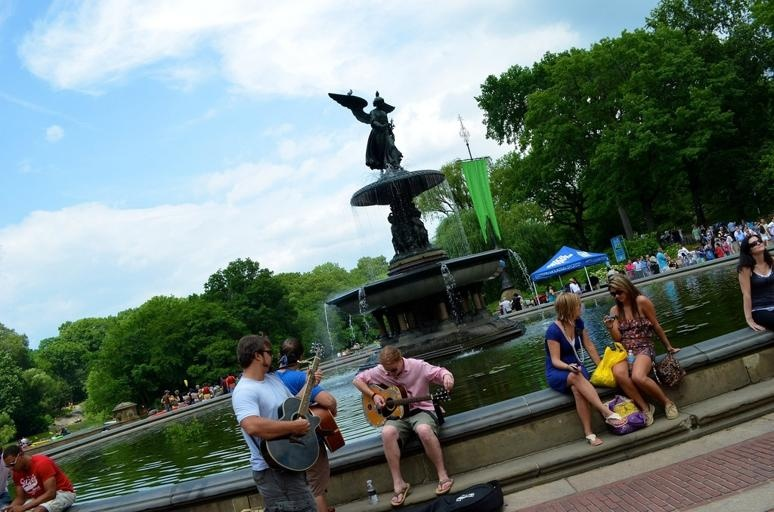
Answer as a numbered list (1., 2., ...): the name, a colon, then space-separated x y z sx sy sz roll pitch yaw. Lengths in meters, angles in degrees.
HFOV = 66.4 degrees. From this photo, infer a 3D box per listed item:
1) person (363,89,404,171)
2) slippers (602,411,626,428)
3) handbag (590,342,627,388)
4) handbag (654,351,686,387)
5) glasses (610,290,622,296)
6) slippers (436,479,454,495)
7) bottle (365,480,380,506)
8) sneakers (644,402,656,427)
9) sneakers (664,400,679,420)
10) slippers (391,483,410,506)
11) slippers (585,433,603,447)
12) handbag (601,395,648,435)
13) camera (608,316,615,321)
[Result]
1. person: -0.215 -4.230 20.413 1.289 2.540 0.672 -17 -5 12
2. slippers: 3.047 2.190 7.860 0.154 0.109 0.268 -19 18 -28
3. handbag: 3.161 1.407 8.153 0.553 0.206 0.340 -36 26 50
4. handbag: 3.893 1.579 8.087 0.330 0.351 0.157 -29 -10 5
5. glasses: 3.248 0.526 8.359 0.098 0.087 0.176 -15 -6 -22
6. slippers: 0.753 3.037 7.711 0.257 0.179 0.122 -16 -5 -4
7. bottle: -0.198 3.185 7.923 0.149 0.280 0.239 -15 -5 -10
8. sneakers: 3.531 2.148 7.898 0.113 0.283 0.128 6 -8 -8
9. sneakers: 3.831 2.076 7.937 0.170 0.258 0.213 -18 -5 22
10. slippers: 0.185 3.169 7.768 0.128 0.093 0.326 -14 10 21
11. slippers: 2.756 2.443 7.831 0.195 0.162 0.184 -17 -5 4
12. handbag: 3.226 2.132 8.051 0.540 0.224 0.723 -16 22 -7
13. camera: 3.231 0.901 8.458 0.093 0.068 0.075 -19 -5 20
